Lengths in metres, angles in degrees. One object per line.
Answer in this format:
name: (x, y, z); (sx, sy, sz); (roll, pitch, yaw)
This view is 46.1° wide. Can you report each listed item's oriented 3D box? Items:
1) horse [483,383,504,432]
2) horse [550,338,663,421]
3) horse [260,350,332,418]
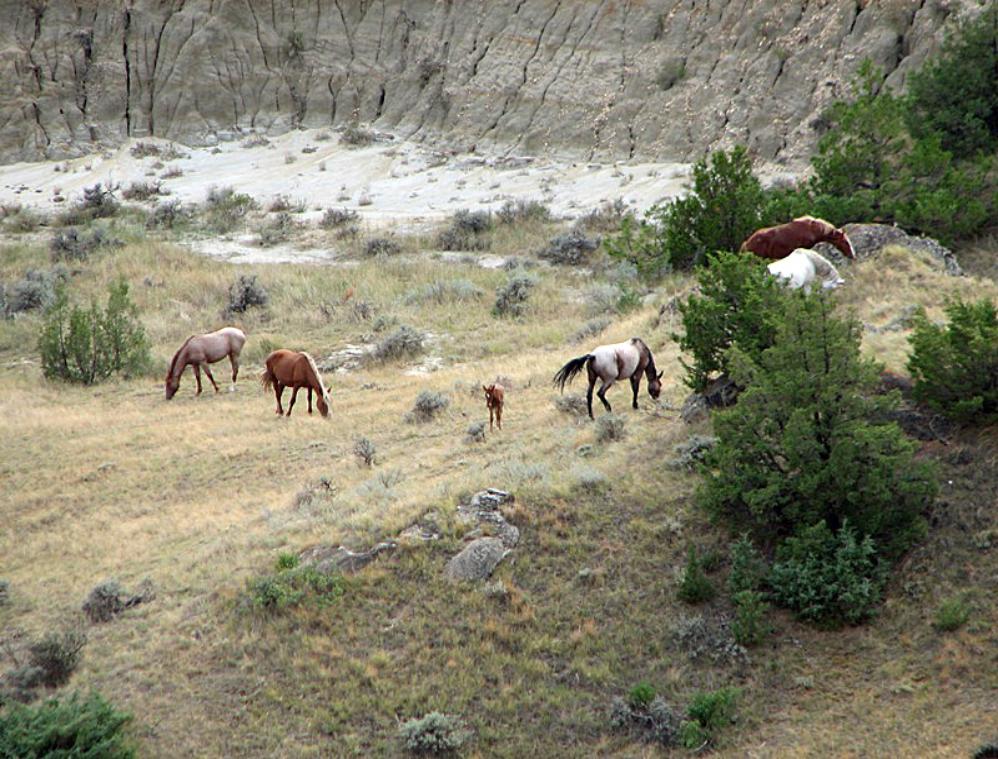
horse: (-0.152, 0.538, 27.463); (0.392, 1.000, 1.058); (-1, 21, 1)
horse: (2.594, 0.063, 26.973); (2.629, 1.880, 0.940); (-10, 19, -21)
horse: (-5.117, 0.142, 29.245); (2.480, 1.744, 0.689); (13, 16, 38)
